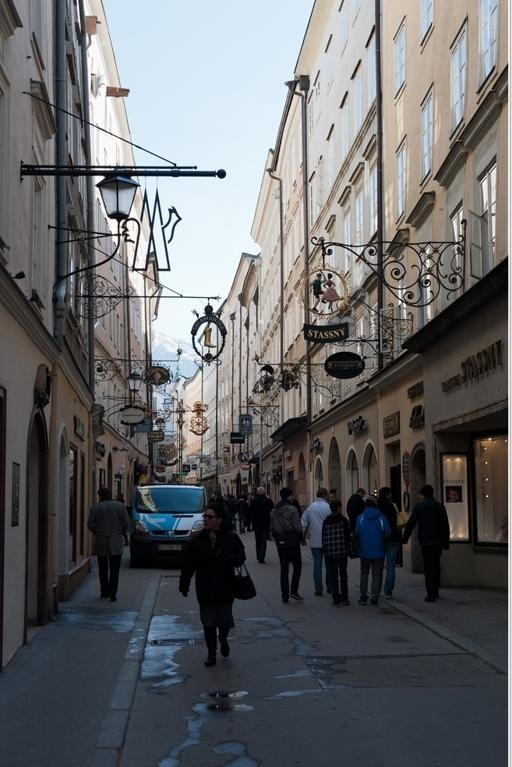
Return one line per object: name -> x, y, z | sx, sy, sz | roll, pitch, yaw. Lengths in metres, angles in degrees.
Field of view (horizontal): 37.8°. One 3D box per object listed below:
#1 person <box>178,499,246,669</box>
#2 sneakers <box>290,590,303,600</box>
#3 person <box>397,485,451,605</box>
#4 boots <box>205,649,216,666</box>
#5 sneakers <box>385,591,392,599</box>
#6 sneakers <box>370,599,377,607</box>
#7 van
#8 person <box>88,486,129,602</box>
person -> -0.426, 1.931, 7.224 | 0.603, 1.510, 0.279 | 1, -5, -1
sneakers -> 0.670, 3.591, 12.651 | 0.192, 0.132, 0.499 | 2, -9, -6
person -> 2.778, 2.584, 12.288 | 0.639, 1.834, 0.929 | -4, -8, 39
boots -> -0.434, 2.599, 7.087 | 0.106, 0.145, 0.167 | 2, -8, -10
sneakers -> 2.206, 3.541, 12.497 | 0.125, 0.080, 0.257 | 0, -9, 13
sneakers -> 1.841, 3.447, 11.773 | 0.118, 0.103, 0.255 | 0, -9, 12
van -> -2.437, 3.618, 20.553 | 1.696, 2.659, 4.098 | 0, -15, -4
person -> -2.552, 2.742, 12.894 | 0.671, 1.870, 1.065 | 2, -6, -13
